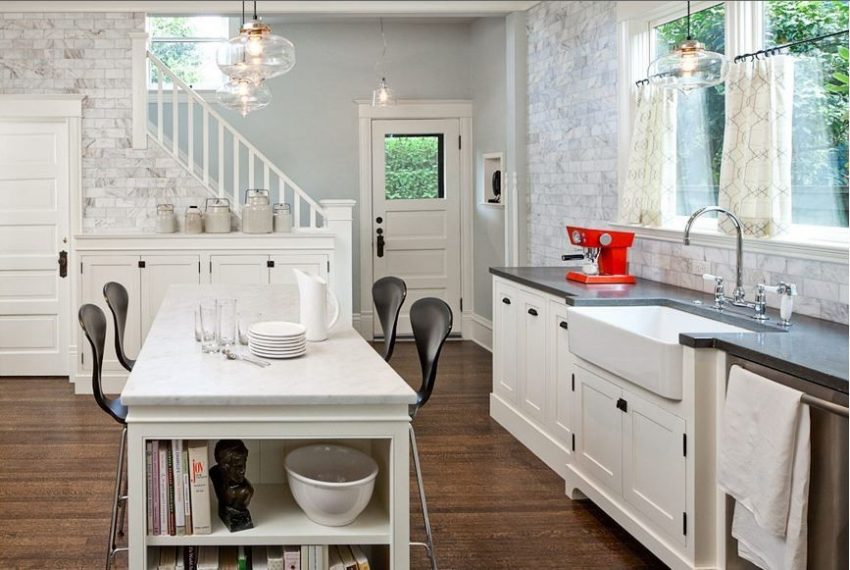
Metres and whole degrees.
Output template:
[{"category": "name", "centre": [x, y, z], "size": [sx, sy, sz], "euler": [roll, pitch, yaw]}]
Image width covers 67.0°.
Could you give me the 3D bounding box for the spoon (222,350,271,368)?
[{"category": "spoon", "centre": [-0.781, 0.323, 2.807], "size": [0.168, 0.025, 0.034], "euler": [12, 12, 27]}]

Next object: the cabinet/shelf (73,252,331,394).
[{"category": "cabinet/shelf", "centre": [-1.452, 0.213, 3.868], "size": [1.268, 0.728, 0.287], "euler": [0, -2, -4]}]

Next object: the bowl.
[{"category": "bowl", "centre": [-0.385, 0.814, 2.628], "size": [0.389, 0.226, 0.312], "euler": [-1, 11, -6]}]

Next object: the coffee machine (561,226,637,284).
[{"category": "coffee machine", "centre": [1.186, -0.206, 4.408], "size": [0.464, 0.360, 0.458], "euler": [5, 6, 15]}]

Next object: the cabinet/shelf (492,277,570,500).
[{"category": "cabinet/shelf", "centre": [0.730, 0.705, 4.330], "size": [0.460, 1.046, 1.265], "euler": [1, 6, -4]}]

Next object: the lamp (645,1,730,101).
[{"category": "lamp", "centre": [1.329, -1.135, 3.268], "size": [0.345, 0.269, 0.209], "euler": [4, 12, 21]}]

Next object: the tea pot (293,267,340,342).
[{"category": "tea pot", "centre": [-0.557, 0.070, 3.316], "size": [0.201, 0.348, 0.541], "euler": [-2, 11, -10]}]

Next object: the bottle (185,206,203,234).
[{"category": "bottle", "centre": [-2.142, -0.611, 5.927], "size": [0.187, 0.233, 0.274], "euler": [-3, 11, -19]}]

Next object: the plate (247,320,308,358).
[{"category": "plate", "centre": [-0.679, 0.249, 2.936], "size": [0.284, 0.116, 0.231], "euler": [8, 13, 35]}]
